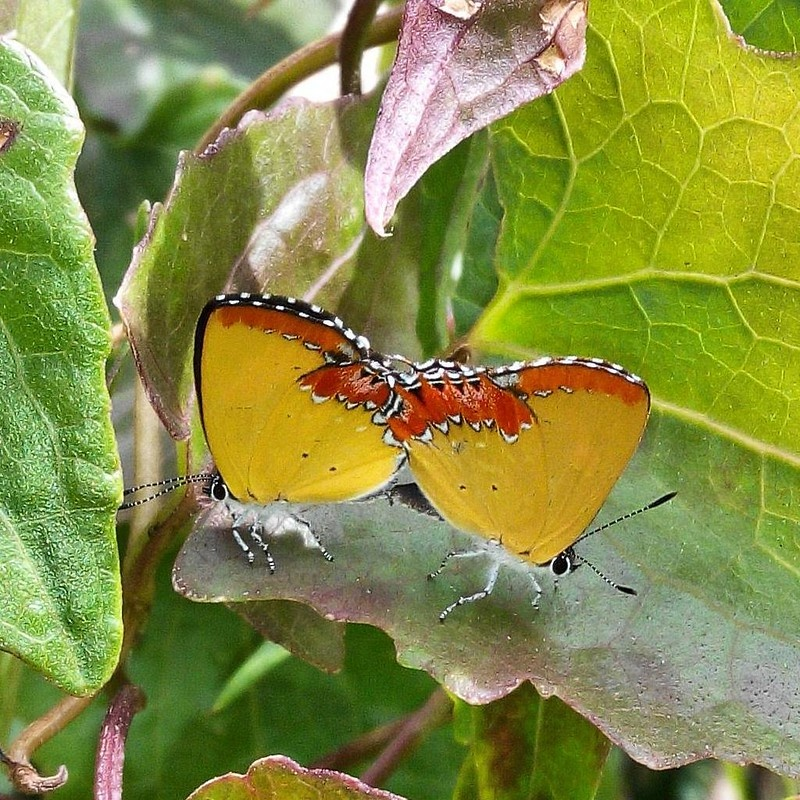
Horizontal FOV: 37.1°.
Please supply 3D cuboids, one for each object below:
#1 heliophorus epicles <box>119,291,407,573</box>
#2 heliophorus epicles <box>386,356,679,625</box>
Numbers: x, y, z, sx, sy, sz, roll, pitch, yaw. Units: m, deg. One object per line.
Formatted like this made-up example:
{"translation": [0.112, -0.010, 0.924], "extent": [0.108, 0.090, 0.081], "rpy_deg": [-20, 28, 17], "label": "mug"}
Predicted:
{"translation": [-0.075, 0.028, 0.752], "extent": [0.107, 0.201, 0.134], "rpy_deg": [26, 70, 17], "label": "heliophorus epicles"}
{"translation": [0.106, 0.019, 0.826], "extent": [0.170, 0.170, 0.094], "rpy_deg": [40, 48, 6], "label": "heliophorus epicles"}
